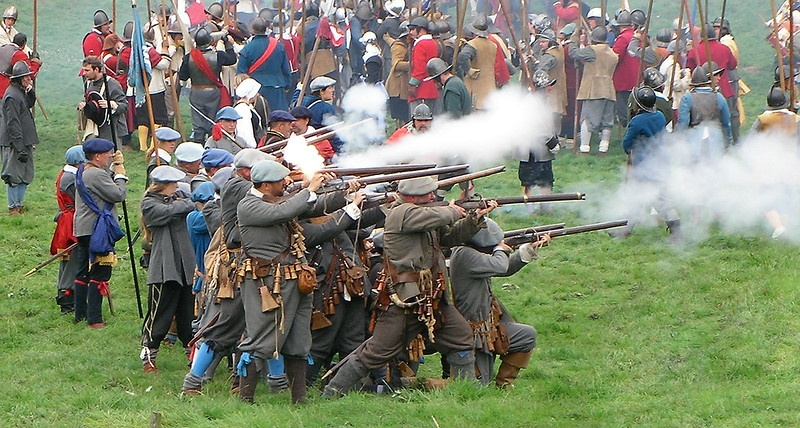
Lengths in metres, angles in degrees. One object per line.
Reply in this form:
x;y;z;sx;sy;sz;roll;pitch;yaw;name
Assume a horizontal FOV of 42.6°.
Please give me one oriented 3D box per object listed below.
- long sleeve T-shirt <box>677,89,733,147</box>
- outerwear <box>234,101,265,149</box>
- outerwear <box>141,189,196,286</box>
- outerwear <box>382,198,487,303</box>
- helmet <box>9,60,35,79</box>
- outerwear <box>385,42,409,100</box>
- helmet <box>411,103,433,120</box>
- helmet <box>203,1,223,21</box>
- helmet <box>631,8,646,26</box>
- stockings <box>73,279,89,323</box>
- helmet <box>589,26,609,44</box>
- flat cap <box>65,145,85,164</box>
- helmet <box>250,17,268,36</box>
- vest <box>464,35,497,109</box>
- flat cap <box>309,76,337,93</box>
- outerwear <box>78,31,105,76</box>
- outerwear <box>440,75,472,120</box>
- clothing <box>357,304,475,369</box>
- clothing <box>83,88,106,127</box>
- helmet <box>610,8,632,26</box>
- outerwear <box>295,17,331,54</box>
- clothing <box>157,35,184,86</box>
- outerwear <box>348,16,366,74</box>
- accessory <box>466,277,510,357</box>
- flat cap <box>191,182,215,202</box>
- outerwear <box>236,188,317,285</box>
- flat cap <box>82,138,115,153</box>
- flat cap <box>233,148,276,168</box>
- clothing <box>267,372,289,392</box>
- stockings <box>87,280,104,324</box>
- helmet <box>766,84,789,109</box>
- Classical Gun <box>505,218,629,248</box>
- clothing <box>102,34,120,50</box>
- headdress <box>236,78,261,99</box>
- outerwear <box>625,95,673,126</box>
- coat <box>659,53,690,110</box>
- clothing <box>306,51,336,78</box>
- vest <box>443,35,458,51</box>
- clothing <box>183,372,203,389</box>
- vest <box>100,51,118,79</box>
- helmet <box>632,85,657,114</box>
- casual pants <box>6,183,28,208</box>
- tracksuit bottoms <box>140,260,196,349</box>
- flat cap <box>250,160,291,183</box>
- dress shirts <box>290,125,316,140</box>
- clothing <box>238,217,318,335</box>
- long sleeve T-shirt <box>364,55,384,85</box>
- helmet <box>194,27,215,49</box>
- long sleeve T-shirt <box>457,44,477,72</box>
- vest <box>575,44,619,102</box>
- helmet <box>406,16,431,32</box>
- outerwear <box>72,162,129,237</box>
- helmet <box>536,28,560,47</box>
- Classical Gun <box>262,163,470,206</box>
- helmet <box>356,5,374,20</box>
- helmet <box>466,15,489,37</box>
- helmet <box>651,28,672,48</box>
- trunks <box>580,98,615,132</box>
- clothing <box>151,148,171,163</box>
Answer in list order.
6.425;-2.069;22.130;1.504;1.238;0.718;-5;7;-6;long sleeve T-shirt
-3.275;-1.938;22.183;0.609;0.957;1.007;-4;41;5;outerwear
-4.221;0.438;19.439;1.276;1.754;1.003;-6;4;-36;outerwear
0.593;0.678;18.187;1.971;1.672;1.202;-3;-5;-9;outerwear
-8.323;-3.232;22.736;0.490;0.302;0.500;1;31;16;helmet
-0.045;-3.716;26.117;0.655;1.501;0.373;2;4;13;outerwear
0.421;-2.086;20.811;0.378;0.248;0.397;-1;17;-7;helmet
-4.759;-5.199;26.417;0.395;0.485;0.264;30;53;29;helmet
6.107;-5.085;26.406;0.360;0.443;0.499;2;3;11;helmet
-6.313;1.694;20.368;0.250;0.853;0.224;1;4;-13;stockings
4.984;-4.556;25.789;0.390;0.367;0.459;7;33;2;helmet
-6.492;-1.177;20.656;0.358;0.334;0.447;-7;-6;-22;flat cap
-3.384;-4.569;24.736;0.337;0.449;0.405;1;3;-8;helmet
1.949;-3.530;25.710;0.975;2.081;0.908;-3;11;-18;vest
-1.634;-2.798;21.815;0.508;0.182;0.341;-15;10;-2;flat cap
-7.582;-4.028;25.684;0.669;1.065;1.137;-3;12;-4;outerwear
1.336;-2.670;23.630;0.598;0.930;1.059;-3;7;22;outerwear
0.227;2.128;18.121;2.349;1.018;0.574;-7;19;1;clothing
-6.862;-2.397;23.205;0.563;0.806;0.595;0;4;-16;clothing
5.711;-5.098;26.502;0.487;0.342;0.587;2;19;6;helmet
-2.248;-4.718;26.486;0.754;0.912;0.351;2;-9;35;outerwear
-5.642;-3.907;25.295;0.444;0.389;1.266;-18;28;-4;clothing
-1.199;-4.644;27.866;0.402;1.526;0.374;1;4;-2;outerwear
1.598;1.956;18.449;0.773;1.064;0.481;-9;2;2;accessory
-3.597;-0.410;18.814;0.313;0.298;0.405;23;-45;-37;flat cap
-2.263;0.268;17.630;1.789;1.685;1.165;-1;9;9;outerwear
-5.925;-1.371;20.162;0.556;0.282;0.265;0;4;-16;flat cap
-2.578;-1.001;17.936;0.525;0.176;0.379;-5;7;-13;flat cap
-2.132;2.945;17.931;0.287;0.283;0.348;-1;-9;-5;clothing
-5.986;1.725;20.241;0.313;0.867;0.174;0;4;-17;stockings
7.660;-2.383;20.917;0.386;0.466;0.492;2;4;19;helmet
3.407;0.372;20.346;2.869;0.505;0.358;-6;-3;-7;Classical Gun
-6.945;-4.158;24.723;0.364;0.403;0.365;0;4;-16;clothing
-3.386;-2.793;22.716;0.412;0.203;0.527;-42;32;-18;headdress
5.473;-2.162;22.206;1.016;1.010;0.690;4;6;10;outerwear
6.450;-3.107;24.198;0.549;0.704;1.745;-16;-16;12;coat
-1.955;-3.928;26.622;0.298;0.749;0.803;4;4;36;clothing
1.283;-4.477;26.626;0.277;0.399;0.825;2;3;5;vest
-3.682;2.950;18.313;0.331;0.291;0.270;2;2;-18;clothing
-6.924;-3.624;24.606;0.453;0.631;0.774;0;3;-16;vest
5.097;-2.427;21.495;0.451;0.555;0.433;2;3;7;helmet
-8.657;-0.426;23.243;0.383;0.552;0.234;0;4;-25;casual pants
-4.325;1.765;19.545;1.134;2.297;0.768;-9;28;-30;tracksuit bottoms
-2.233;-0.742;17.639;0.626;0.407;0.177;1;4;-7;flat cap
-1.861;-1.616;19.638;0.489;0.125;0.362;-5;2;-7;dress shirts
-2.101;0.964;17.944;1.491;1.767;1.365;-8;-8;10;clothing
-0.708;-3.912;27.627;0.494;0.741;0.573;1;3;-1;long sleeve T-shirt
-4.733;-4.262;24.729;0.410;0.541;0.449;1;4;-11;helmet
1.615;-3.904;25.470;0.559;0.658;0.258;5;12;-3;long sleeve T-shirt
4.947;-3.565;25.936;1.211;1.381;0.976;2;3;-25;vest
0.476;-4.692;25.426;0.517;0.420;0.346;1;3;2;helmet
-5.970;-0.292;20.509;1.111;1.392;1.211;-8;8;-37;outerwear
3.854;-4.548;26.434;0.329;0.503;0.753;0;4;-21;helmet
-0.181;-0.569;17.979;0.201;0.608;5.100;28;19;30;Classical Gun
-0.989;-5.581;27.976;0.452;0.500;0.413;1;3;-3;helmet
1.961;-4.682;25.500;0.414;0.534;0.463;1;3;3;helmet
6.868;-4.646;26.900;0.537;0.350;0.530;4;36;3;helmet
4.866;-2.496;25.686;0.793;1.207;1.020;3;12;25;trunks
-4.662;-1.189;20.072;0.299;0.107;0.293;12;-6;35;clothing
